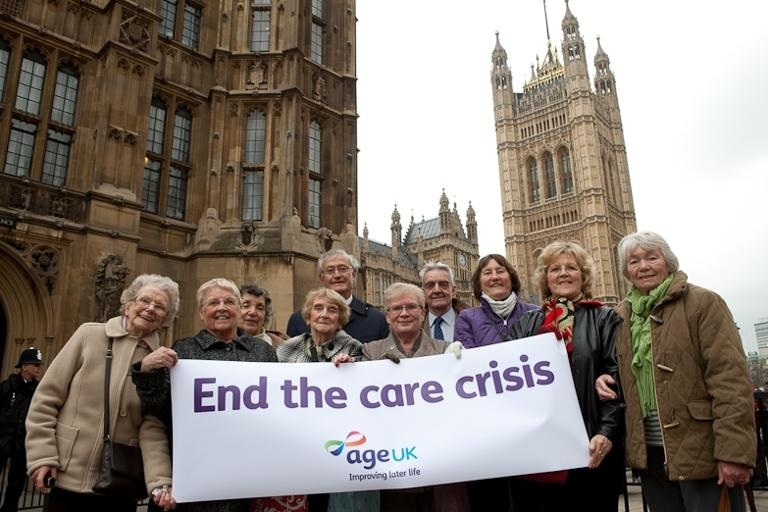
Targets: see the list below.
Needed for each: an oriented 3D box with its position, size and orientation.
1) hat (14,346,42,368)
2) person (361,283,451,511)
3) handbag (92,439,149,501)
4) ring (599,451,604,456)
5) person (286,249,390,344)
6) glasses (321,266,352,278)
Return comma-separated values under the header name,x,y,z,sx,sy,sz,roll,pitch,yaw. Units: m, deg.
name,x,y,z,sx,sy,sz,roll,pitch,yaw
hat,-5.466,1.552,9.111,0.436,0.290,0.414,-7,-6,35
person,0.274,1.467,6.259,0.957,2.350,0.526,-3,-13,6
handbag,-2.521,2.037,5.630,0.174,0.415,0.450,-27,-37,25
ring,2.103,1.916,5.740,0.027,0.050,0.026,5,4,0
person,-0.569,0.616,7.657,1.333,1.390,0.663,-3,-8,1
glasses,-0.601,0.201,7.477,0.361,0.149,0.114,-3,-13,3
